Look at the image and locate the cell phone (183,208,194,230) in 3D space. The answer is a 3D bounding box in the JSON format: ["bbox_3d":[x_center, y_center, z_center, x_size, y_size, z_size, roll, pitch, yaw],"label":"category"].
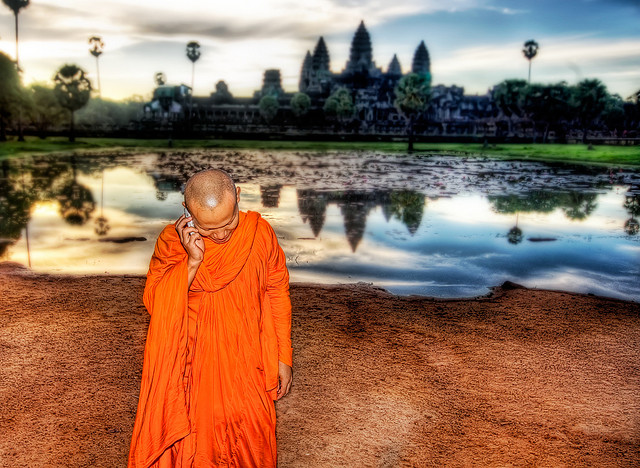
[{"bbox_3d":[-0.760,-0.102,3.582,0.048,0.096,0.132,-3,13,-16],"label":"cell phone"}]
